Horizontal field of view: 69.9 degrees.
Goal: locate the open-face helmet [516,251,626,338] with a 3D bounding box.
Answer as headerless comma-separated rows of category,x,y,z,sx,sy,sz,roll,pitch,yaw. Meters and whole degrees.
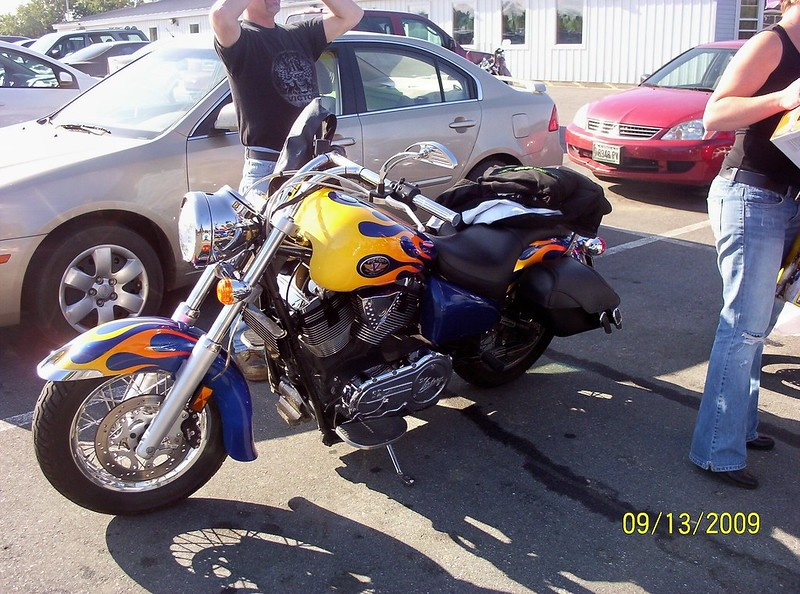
open-face helmet,0.956,-0.027,3.393,0.570,0.401,0.409,-14,25,-16

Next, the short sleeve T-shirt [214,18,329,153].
short sleeve T-shirt,-0.863,-1.439,3.874,0.507,0.839,0.916,21,35,28

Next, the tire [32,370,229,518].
tire,-1.187,0.657,2.553,0.675,0.641,0.128,15,14,-26

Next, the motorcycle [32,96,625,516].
motorcycle,-0.135,-0.026,3.017,3.169,1.581,1.228,-12,23,-31

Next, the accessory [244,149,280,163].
accessory,-0.920,-0.898,3.732,0.171,0.056,0.143,-4,14,-44

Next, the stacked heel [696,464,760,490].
stacked heel,1.696,0.921,2.972,0.272,0.107,0.093,10,23,31

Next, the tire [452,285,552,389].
tire,0.583,0.216,3.325,0.190,0.534,0.596,18,-5,44
